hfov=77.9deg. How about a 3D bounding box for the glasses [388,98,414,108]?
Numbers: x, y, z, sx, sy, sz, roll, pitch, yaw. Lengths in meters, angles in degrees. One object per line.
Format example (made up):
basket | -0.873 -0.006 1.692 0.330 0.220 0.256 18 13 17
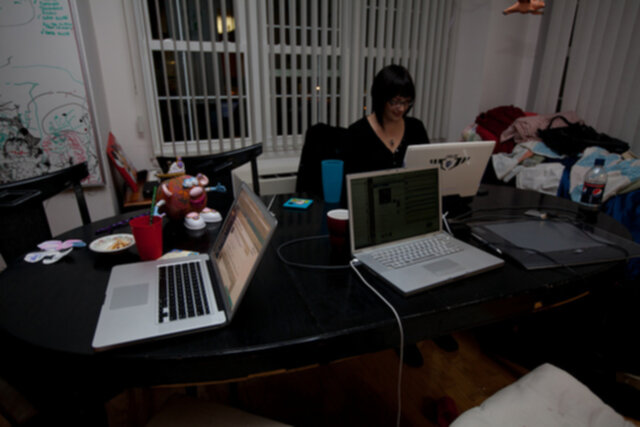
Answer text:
glasses | 0.525 -0.719 2.571 0.161 0.079 0.052 -9 26 -12

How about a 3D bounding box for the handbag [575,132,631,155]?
handbag | 2.529 -0.621 3.516 0.273 0.115 0.282 0 17 -10

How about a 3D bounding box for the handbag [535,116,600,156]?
handbag | 2.236 -0.788 3.616 0.350 0.168 0.464 -22 33 -16

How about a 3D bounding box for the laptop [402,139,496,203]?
laptop | 0.670 -0.310 2.106 0.440 0.296 0.322 -3 29 -9

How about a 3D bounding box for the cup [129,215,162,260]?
cup | -0.740 0.120 1.801 0.142 0.178 0.148 -4 1 0

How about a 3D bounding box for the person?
person | 0.512 -0.660 2.837 0.761 0.766 0.445 -9 30 -22

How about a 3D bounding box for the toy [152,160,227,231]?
toy | -0.682 -0.120 2.067 0.429 0.346 0.339 -14 23 -36

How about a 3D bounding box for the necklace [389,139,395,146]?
necklace | 0.516 -0.505 2.831 0.025 0.034 0.015 -5 -9 -9

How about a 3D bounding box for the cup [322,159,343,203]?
cup | 0.072 -0.179 2.233 0.146 0.240 0.149 -1 22 0

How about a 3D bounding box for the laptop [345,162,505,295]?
laptop | 0.436 0.025 1.647 0.544 0.375 0.452 -10 18 -29
